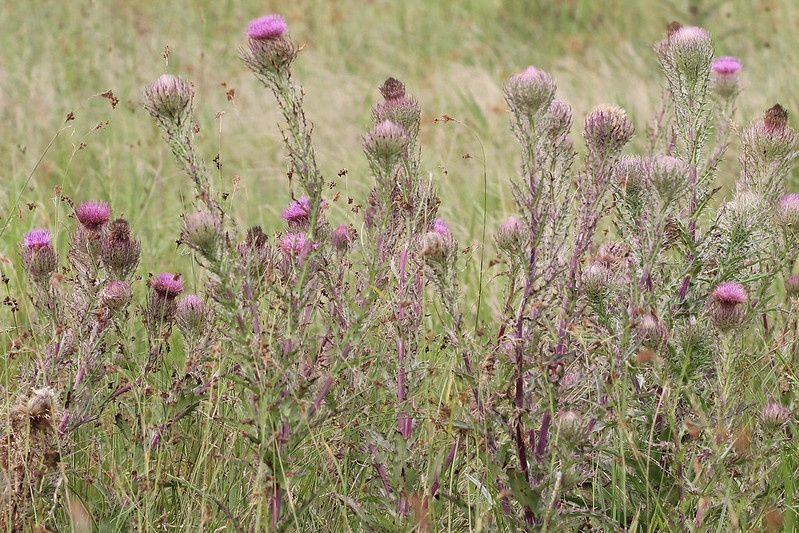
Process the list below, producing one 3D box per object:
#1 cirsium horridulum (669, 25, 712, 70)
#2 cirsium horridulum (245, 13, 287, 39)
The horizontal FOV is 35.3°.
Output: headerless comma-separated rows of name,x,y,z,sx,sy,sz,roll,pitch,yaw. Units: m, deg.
cirsium horridulum,1.359,-1.027,5.886,0.169,0.216,0.187,-5,4,-20
cirsium horridulum,-0.577,-1.051,5.424,0.112,0.076,0.121,-15,15,-23
